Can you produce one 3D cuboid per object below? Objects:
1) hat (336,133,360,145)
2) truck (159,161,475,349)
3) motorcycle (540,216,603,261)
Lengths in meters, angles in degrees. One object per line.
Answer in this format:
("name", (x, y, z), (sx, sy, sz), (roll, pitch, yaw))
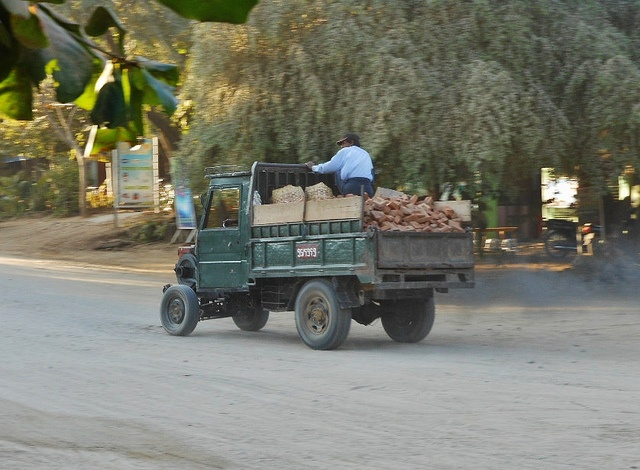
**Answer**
("hat", (0.366, -1.385, 12.402), (0.366, 0.134, 0.198), (1, -2, 11))
("truck", (-0.176, 0.421, 12.393), (4.501, 1.829, 2.100), (-5, -11, 43))
("motorcycle", (6.706, 0.120, 22.960), (0.585, 1.088, 1.627), (2, -1, -32))
